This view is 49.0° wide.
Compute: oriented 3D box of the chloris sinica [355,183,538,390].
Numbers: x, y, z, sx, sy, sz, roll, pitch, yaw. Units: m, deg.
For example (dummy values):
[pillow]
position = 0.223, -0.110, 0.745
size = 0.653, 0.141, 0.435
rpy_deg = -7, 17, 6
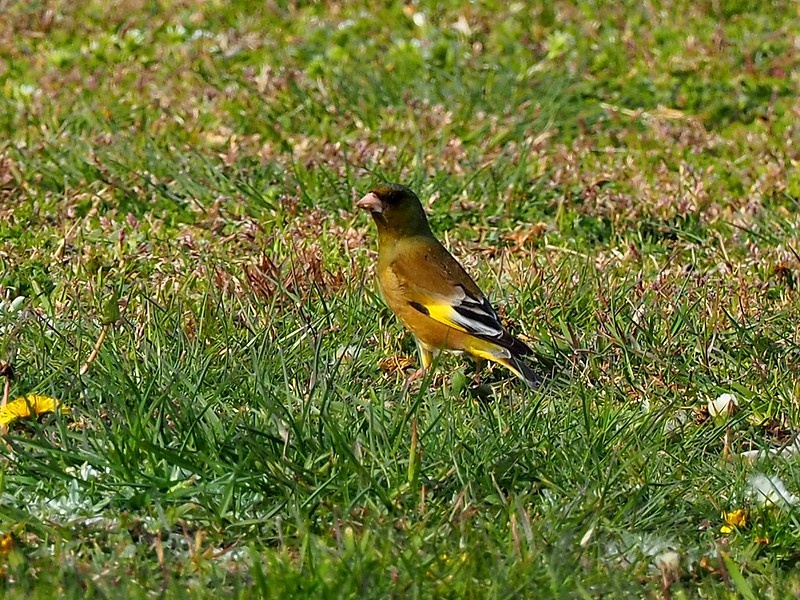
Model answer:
[chloris sinica]
position = 0.250, -0.057, 4.306
size = 1.069, 0.841, 0.420
rpy_deg = 13, 10, 17
